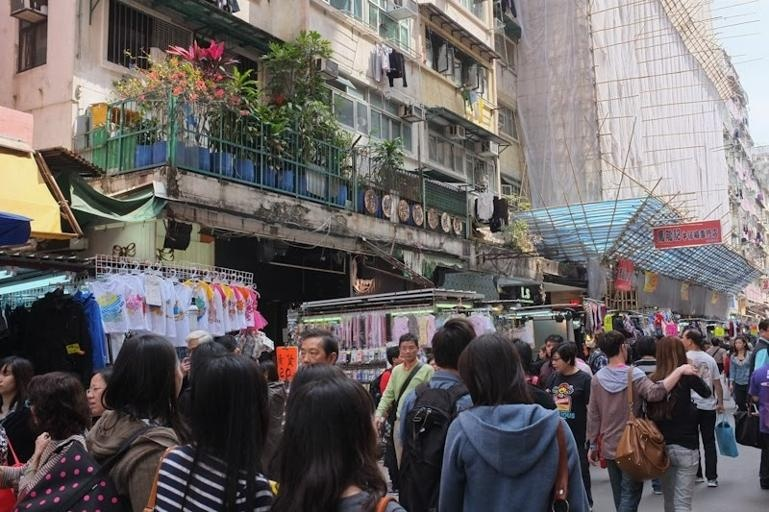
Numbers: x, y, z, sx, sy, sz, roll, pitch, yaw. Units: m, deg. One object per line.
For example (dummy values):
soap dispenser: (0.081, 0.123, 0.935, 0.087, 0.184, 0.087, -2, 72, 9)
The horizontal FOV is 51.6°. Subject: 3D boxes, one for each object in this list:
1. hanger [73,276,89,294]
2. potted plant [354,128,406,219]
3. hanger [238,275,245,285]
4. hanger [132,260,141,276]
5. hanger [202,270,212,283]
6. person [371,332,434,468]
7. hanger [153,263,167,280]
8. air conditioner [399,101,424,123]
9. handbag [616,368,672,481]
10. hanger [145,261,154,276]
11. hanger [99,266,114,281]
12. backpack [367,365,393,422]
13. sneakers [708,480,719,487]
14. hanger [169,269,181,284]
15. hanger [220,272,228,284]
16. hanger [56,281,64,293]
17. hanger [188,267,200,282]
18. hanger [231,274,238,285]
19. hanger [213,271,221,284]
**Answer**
hanger: (-4.143, 0.375, 10.870, 0.172, 0.220, 0.421, 6, -9, -38)
potted plant: (-0.187, -2.038, 18.134, 0.783, 1.491, 1.485, -4, -9, 31)
hanger: (-2.353, 0.384, 12.983, 0.105, 0.152, 0.074, -2, -17, -2)
hanger: (-3.560, 0.163, 11.430, 0.152, 0.249, 0.569, 3, -8, -18)
hanger: (-2.742, 0.326, 12.250, 0.126, 0.186, 0.051, 4, -15, -21)
person: (0.302, 1.889, 9.310, 0.708, 1.903, 0.486, 1, 8, 15)
hanger: (-3.307, 0.201, 11.710, 0.239, 0.276, 0.245, 1, -9, -13)
air conditioner: (0.704, -3.710, 20.570, 0.399, 0.411, 0.672, -5, -9, 38)
handbag: (2.925, 1.932, 9.008, 0.750, 1.187, 0.473, 18, -22, -38)
hanger: (-3.379, 0.173, 11.384, 0.092, 0.137, 0.194, 13, 16, -1)
hanger: (-3.876, 0.235, 10.989, 0.224, 0.184, 0.317, 4, -8, -21)
backpack: (-0.023, 2.031, 12.234, 0.288, 0.541, 0.389, 14, 2, 27)
sneakers: (4.634, 3.203, 11.214, 0.065, 0.091, 0.188, -2, -5, -1)
hanger: (-3.102, 0.301, 11.734, 0.160, 0.173, 0.295, 3, -1, -1)
hanger: (-2.547, 0.345, 12.532, 0.119, 0.130, 0.069, -3, -14, 12)
hanger: (-4.359, 0.410, 10.649, 0.106, 0.120, 0.197, 4, 3, -17)
hanger: (-2.915, 0.281, 12.102, 0.194, 0.282, 0.139, -13, -15, 42)
hanger: (-2.444, 0.378, 12.903, 0.103, 0.159, 0.141, -1, 2, -7)
hanger: (-2.580, 0.321, 12.305, 0.174, 0.193, 0.134, 6, -13, -30)
